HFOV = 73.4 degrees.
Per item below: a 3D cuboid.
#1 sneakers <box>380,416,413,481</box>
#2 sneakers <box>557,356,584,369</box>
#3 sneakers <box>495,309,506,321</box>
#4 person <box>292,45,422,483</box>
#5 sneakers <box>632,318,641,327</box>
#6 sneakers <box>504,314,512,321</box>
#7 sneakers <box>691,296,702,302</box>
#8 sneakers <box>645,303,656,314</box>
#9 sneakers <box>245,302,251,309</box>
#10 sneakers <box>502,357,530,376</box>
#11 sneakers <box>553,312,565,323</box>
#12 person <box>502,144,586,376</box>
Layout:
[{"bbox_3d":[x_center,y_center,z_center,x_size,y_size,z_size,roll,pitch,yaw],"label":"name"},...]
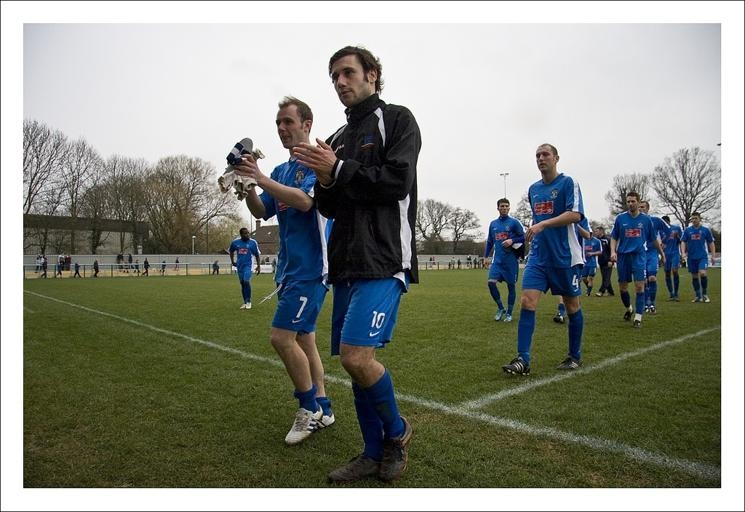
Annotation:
[{"bbox_3d":[0.202,1.588,4.052,0.171,0.534,0.221,1,-20,33],"label":"sneakers"},{"bbox_3d":[2.531,1.363,6.385,0.388,0.152,0.135,11,-18,-40],"label":"sneakers"},{"bbox_3d":[2.670,1.225,10.439,0.121,0.149,0.350,-12,0,31],"label":"sneakers"},{"bbox_3d":[-0.061,0.029,4.116,0.900,3.460,0.695,0,6,5],"label":"person"},{"bbox_3d":[4.805,1.224,9.015,0.120,0.174,0.173,-6,-25,24],"label":"sneakers"},{"bbox_3d":[2.742,1.257,10.101,0.082,0.108,0.235,-4,-8,26],"label":"sneakers"},{"bbox_3d":[8.675,1.169,13.401,0.381,0.171,0.142,0,-1,15],"label":"sneakers"},{"bbox_3d":[6.195,1.183,11.085,0.132,0.177,0.417,-5,-15,24],"label":"sneakers"},{"bbox_3d":[-3.188,1.263,12.679,0.098,0.123,0.291,0,-10,-13],"label":"sneakers"},{"bbox_3d":[1.748,1.339,6.049,0.375,0.193,0.255,0,6,3],"label":"sneakers"},{"bbox_3d":[3.698,1.253,9.892,0.119,0.152,0.333,-5,-20,30],"label":"sneakers"},{"bbox_3d":[2.295,0.005,6.495,0.854,2.878,1.464,2,6,23],"label":"person"}]
